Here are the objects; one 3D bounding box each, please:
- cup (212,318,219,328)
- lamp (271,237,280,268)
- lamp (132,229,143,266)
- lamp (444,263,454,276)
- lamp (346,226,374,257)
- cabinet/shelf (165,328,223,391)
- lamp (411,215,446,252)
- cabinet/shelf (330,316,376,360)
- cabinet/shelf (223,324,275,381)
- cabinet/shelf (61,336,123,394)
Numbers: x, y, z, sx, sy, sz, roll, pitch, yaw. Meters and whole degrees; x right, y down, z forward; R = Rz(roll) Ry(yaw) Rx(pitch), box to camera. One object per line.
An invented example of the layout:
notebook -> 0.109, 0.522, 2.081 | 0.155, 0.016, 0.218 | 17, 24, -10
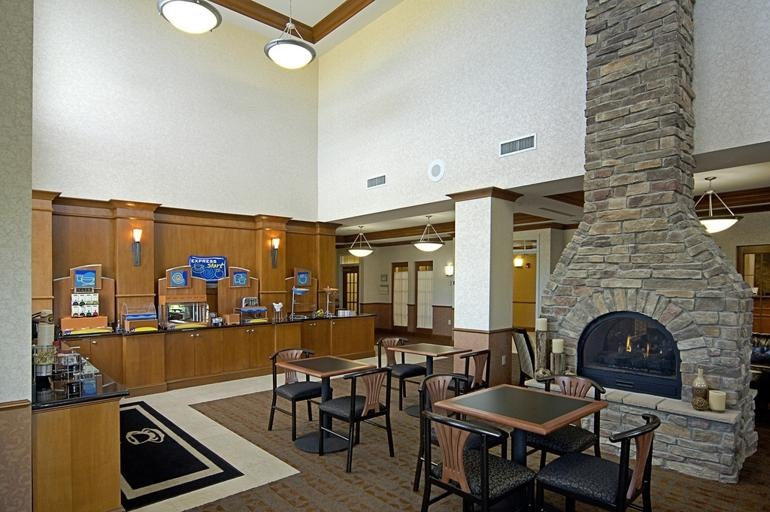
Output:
cup -> -3.474, 1.384, 10.473 | 0.158, 0.152, 0.156 | 1, 1, 0
lamp -> -2.497, -0.086, 11.699 | 0.243, 0.689, 0.140 | -2, 7, -26
lamp -> -4.790, -0.173, 9.879 | 0.209, 0.730, 0.128 | -3, 8, -31
lamp -> 2.064, 0.441, 16.552 | 0.275, 0.446, 0.095 | 3, 7, 17
lamp -> -0.863, -0.385, 16.979 | 0.996, 1.056, 0.936 | 3, -5, -25
cabinet/shelf -> -3.824, 2.062, 10.052 | 1.293, 1.045, 0.623 | 2, -5, -36
lamp -> 1.373, -0.567, 15.484 | 0.995, 1.010, 0.930 | 0, -4, 2
cabinet/shelf -> -0.831, 2.021, 12.467 | 1.226, 0.997, 0.647 | 1, 1, -40
cabinet/shelf -> -2.887, 2.038, 10.624 | 1.278, 1.045, 0.484 | 2, -5, -39
cabinet/shelf -> -4.346, 1.574, 7.498 | 0.621, 0.232, 1.107 | 6, 2, -37
